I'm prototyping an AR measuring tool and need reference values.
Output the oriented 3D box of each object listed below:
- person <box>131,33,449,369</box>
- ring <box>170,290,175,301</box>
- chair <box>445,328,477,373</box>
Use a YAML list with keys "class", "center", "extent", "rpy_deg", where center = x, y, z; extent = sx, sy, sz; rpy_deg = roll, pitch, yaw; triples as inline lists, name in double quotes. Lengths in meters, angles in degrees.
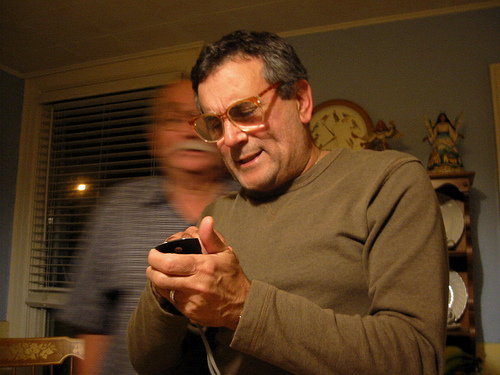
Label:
- class: "person"
  center: [0.068, 0.027, 1.554]
  extent: [1.019, 1.206, 0.544]
  rpy_deg: [-5, -13, 21]
- class: "ring"
  center: [-0.240, 0.334, 1.398]
  extent: [0.013, 0.031, 0.026]
  rpy_deg: [2, -13, -9]
- class: "chair"
  center: [1.190, 0.906, 2.546]
  extent: [0.150, 0.231, 0.239]
  rpy_deg: [-5, -13, 22]
